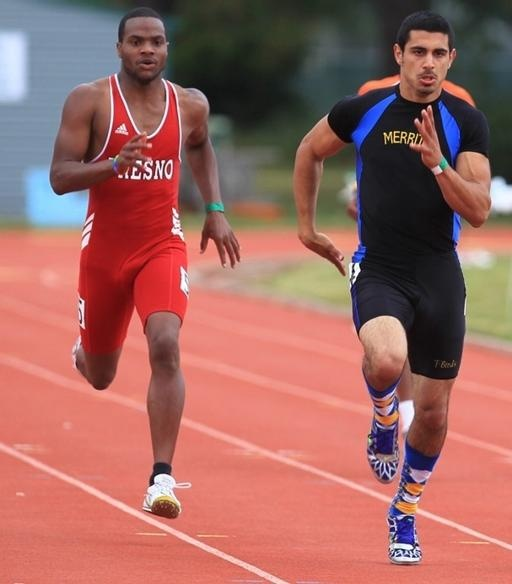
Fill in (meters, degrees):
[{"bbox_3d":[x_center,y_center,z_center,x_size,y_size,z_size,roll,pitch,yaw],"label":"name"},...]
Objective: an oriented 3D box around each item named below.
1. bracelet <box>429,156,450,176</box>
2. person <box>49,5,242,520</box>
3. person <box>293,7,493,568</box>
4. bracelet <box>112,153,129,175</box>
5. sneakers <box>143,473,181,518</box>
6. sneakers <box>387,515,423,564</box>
[{"bbox_3d":[0.615,-0.411,3.022,0.042,0.070,0.067,54,-1,21],"label":"bracelet"},{"bbox_3d":[-0.456,-0.215,3.681,0.726,1.881,1.266,4,4,-2],"label":"person"},{"bbox_3d":[0.531,-0.043,3.404,0.486,1.963,0.787,3,4,-18],"label":"person"},{"bbox_3d":[-0.494,-0.469,3.280,0.043,0.074,0.061,-10,-11,11],"label":"bracelet"},{"bbox_3d":[-0.323,0.706,3.119,0.077,0.104,0.221,16,-11,-16],"label":"sneakers"},{"bbox_3d":[0.527,0.879,3.226,0.132,0.157,0.170,5,4,11],"label":"sneakers"}]
